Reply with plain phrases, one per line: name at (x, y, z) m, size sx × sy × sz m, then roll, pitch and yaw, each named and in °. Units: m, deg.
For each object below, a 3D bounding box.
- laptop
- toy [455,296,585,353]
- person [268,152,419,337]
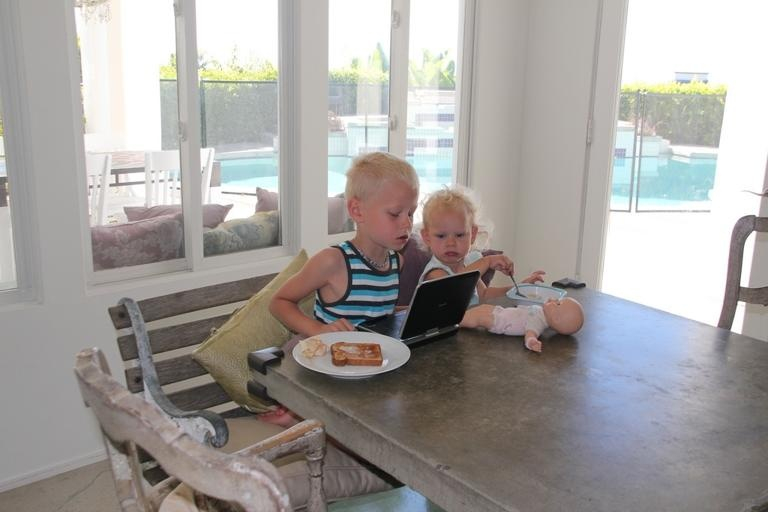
laptop at (0.115, 0.119, 1.684) m, size 0.307 × 0.254 × 0.268 m, roll -12°, pitch 22°, yaw -38°
toy at (0.473, 0.211, 1.708) m, size 0.262 × 0.089 × 0.225 m, roll 4°, pitch 8°, yaw 11°
person at (-0.063, 0.013, 1.988) m, size 0.387 × 0.801 × 0.570 m, roll 11°, pitch 5°, yaw 37°
